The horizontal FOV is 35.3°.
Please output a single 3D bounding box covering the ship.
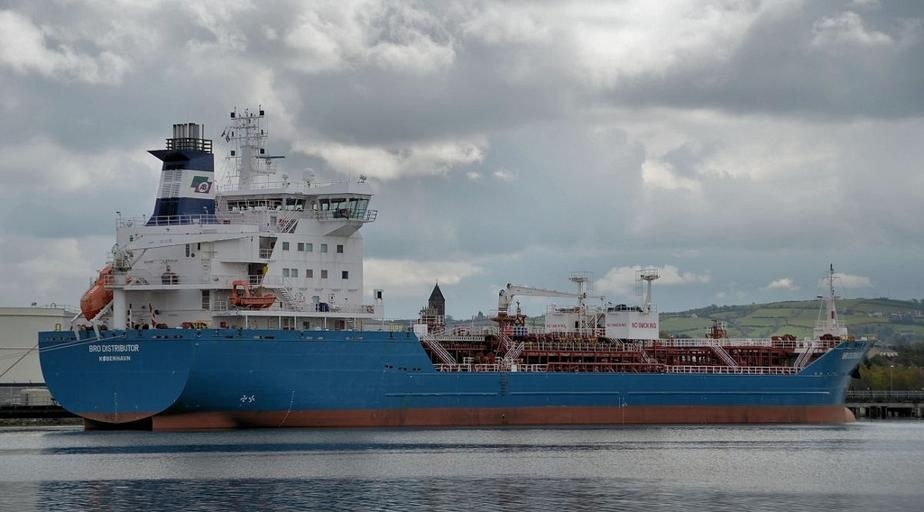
[{"bbox_3d":[0.550,1.493,112.781,64.320,24.700,12.220,-1,11,-15],"label":"ship"}]
